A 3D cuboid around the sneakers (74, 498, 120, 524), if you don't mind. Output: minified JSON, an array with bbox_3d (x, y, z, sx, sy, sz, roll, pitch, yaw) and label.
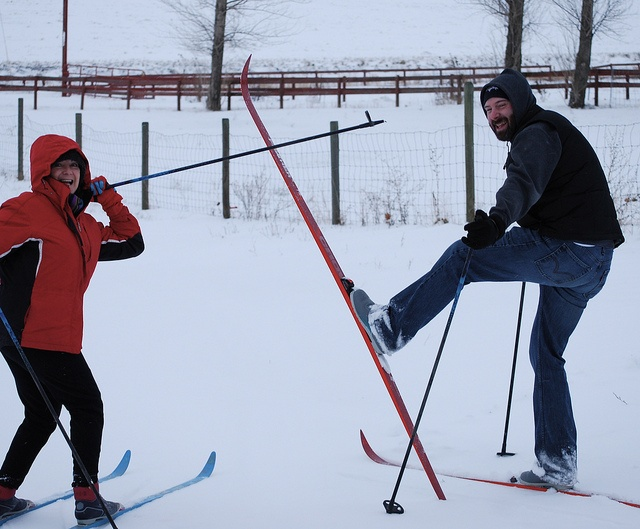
[{"bbox_3d":[-1.534,1.706,6.252,0.354,0.182,0.124,-1,-3,-39],"label":"sneakers"}]

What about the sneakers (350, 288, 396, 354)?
[{"bbox_3d":[0.388,0.371,6.731,0.234,0.201,0.600,-25,34,9],"label":"sneakers"}]

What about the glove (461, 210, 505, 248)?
[{"bbox_3d":[1.098,-0.232,5.963,0.281,0.274,0.197,4,6,7],"label":"glove"}]
